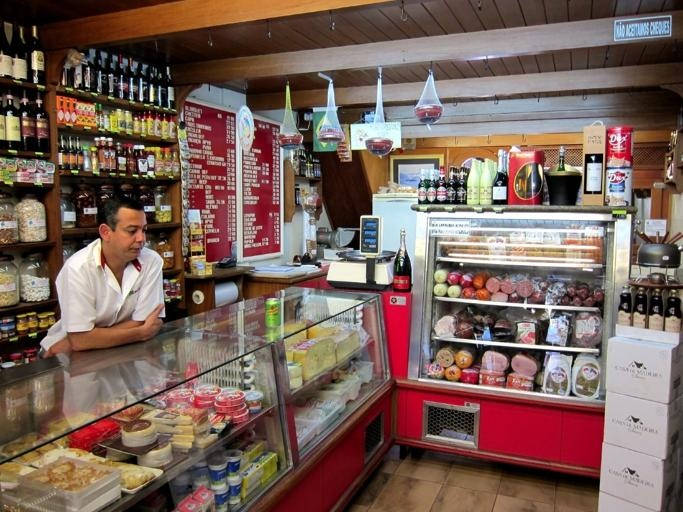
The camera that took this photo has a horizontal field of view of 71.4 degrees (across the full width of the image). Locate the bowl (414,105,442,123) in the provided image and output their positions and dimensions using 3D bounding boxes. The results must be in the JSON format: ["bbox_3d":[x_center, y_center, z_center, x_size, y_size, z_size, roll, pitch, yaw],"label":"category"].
[{"bbox_3d":[0.805,-1.327,4.459,0.231,0.130,0.264,0,10,9],"label":"bowl"}]

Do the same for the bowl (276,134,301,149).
[{"bbox_3d":[-0.534,-1.193,4.939,0.216,0.138,0.329,-2,10,-3],"label":"bowl"}]

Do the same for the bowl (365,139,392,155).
[{"bbox_3d":[0.378,-1.163,5.047,0.180,0.115,0.179,0,5,0],"label":"bowl"}]

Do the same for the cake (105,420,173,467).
[{"bbox_3d":[-0.851,0.804,2.037,0.218,0.107,0.204,4,7,26],"label":"cake"}]

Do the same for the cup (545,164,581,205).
[{"bbox_3d":[1.523,-0.483,3.278,0.282,0.295,0.263,0,2,0],"label":"cup"}]

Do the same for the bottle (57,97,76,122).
[{"bbox_3d":[-2.155,-1.138,3.727,0.035,0.223,0.147,4,11,30],"label":"bottle"}]

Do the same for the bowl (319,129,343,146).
[{"bbox_3d":[-0.116,-1.263,4.974,0.237,0.132,0.292,-1,10,3],"label":"bowl"}]

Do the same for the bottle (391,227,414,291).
[{"bbox_3d":[0.494,0.017,3.935,0.160,0.481,0.338,-1,10,7],"label":"bottle"}]
